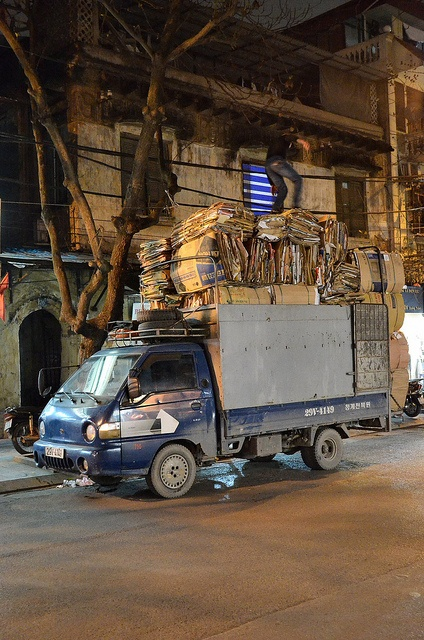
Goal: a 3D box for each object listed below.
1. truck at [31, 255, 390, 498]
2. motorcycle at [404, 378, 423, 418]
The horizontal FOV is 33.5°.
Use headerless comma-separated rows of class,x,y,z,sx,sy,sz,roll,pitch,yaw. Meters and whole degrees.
truck,0.065,1.012,10.040,4.921,2.446,2.273,2,-6,-35
motorcycle,5.084,1.978,17.781,0.459,0.956,1.649,-3,-3,16
